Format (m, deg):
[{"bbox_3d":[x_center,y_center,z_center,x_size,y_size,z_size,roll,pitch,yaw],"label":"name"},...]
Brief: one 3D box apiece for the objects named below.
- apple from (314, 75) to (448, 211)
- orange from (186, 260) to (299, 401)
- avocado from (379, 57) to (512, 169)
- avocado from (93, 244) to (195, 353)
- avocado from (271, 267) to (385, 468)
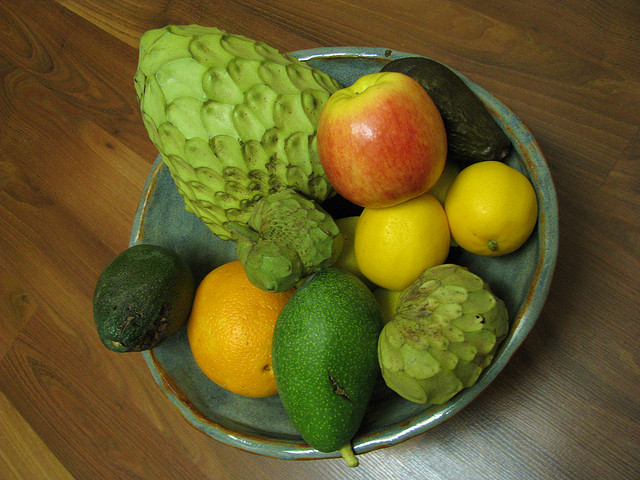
[{"bbox_3d":[0.086,-0.145,0.918,0.181,0.105,0.187,-19,76,1],"label":"apple"},{"bbox_3d":[-0.092,0.143,1.048,0.257,0.194,0.169,-1,80,-9],"label":"orange"},{"bbox_3d":[0.255,-0.209,1.057,0.214,0.153,0.210,-20,41,-31],"label":"avocado"},{"bbox_3d":[-0.277,0.088,1.006,0.143,0.087,0.173,0,77,5],"label":"avocado"},{"bbox_3d":[0.008,0.172,0.922,0.156,0.075,0.264,5,77,6],"label":"avocado"}]
